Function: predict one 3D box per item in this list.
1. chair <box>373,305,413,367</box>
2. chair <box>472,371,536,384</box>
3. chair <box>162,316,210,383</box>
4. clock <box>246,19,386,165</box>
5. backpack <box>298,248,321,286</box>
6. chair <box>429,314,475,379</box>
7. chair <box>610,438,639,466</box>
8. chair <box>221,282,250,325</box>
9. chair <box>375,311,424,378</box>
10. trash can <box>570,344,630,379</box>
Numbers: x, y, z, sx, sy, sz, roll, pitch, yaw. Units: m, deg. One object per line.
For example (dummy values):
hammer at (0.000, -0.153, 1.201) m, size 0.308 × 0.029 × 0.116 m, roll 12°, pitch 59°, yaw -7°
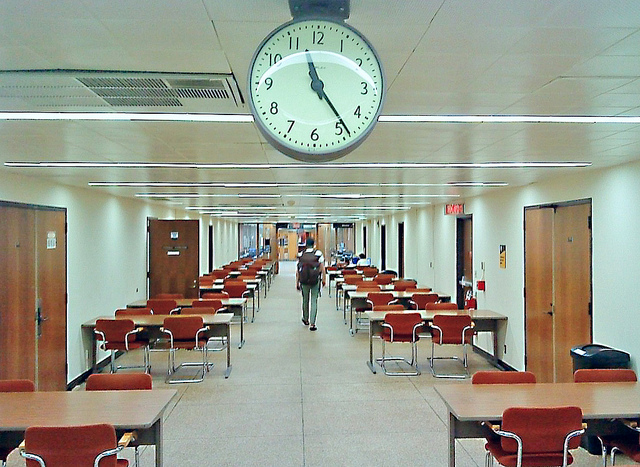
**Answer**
chair at (1.290, 1.756, 9.814) m, size 0.590 × 1.036 × 0.710 m, roll -5°, pitch -22°, yaw 22°
chair at (1.862, 1.469, 6.199) m, size 0.643 × 0.105 × 0.210 m, roll -1°, pitch 4°, yaw -10°
chair at (-1.935, 1.600, 8.646) m, size 0.701 × 1.038 × 0.847 m, roll 0°, pitch -1°, yaw -2°
clock at (-0.028, -0.979, 3.999) m, size 0.903 × 1.133 × 0.167 m, roll 2°, pitch -4°, yaw -4°
backpack at (-0.214, 0.611, 11.945) m, size 0.520 × 0.808 × 0.456 m, roll 7°, pitch 30°, yaw 14°
chair at (1.969, 1.661, 9.120) m, size 0.591 × 0.966 × 0.602 m, roll -1°, pitch 4°, yaw 4°
chair at (2.889, 2.024, 5.741) m, size 0.212 × 0.161 × 0.314 m, roll -1°, pitch -4°, yaw 15°
chair at (-1.772, 1.507, 12.675) m, size 0.514 × 0.928 × 1.328 m, roll -1°, pitch 4°, yaw -4°
chair at (1.195, 1.595, 9.335) m, size 0.772 × 1.016 × 0.875 m, roll 5°, pitch 14°, yaw 21°
trash can at (3.238, 1.422, 7.035) m, size 0.412 × 0.559 × 0.426 m, roll 0°, pitch -2°, yaw -8°
